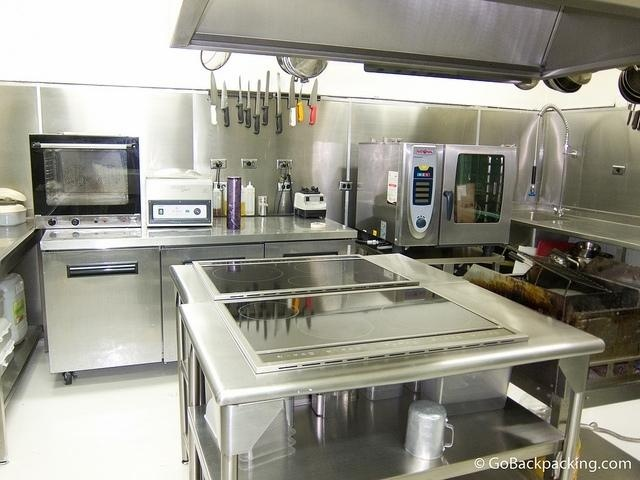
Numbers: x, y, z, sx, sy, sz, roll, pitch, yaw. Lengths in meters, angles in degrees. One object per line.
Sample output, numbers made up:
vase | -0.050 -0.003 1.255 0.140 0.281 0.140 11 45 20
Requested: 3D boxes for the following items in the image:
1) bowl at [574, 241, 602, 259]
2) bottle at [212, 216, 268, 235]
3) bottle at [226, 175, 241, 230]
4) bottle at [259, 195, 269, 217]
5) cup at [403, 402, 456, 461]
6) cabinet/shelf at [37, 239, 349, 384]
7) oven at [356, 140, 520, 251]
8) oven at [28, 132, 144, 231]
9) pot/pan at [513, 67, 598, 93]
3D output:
bowl | 2.224 0.076 3.879 0.127 0.083 0.131 1 6 0
bottle | -0.645 -0.123 3.770 0.439 0.028 0.694 -1 15 -9
bottle | -0.696 -0.281 3.839 0.120 0.428 0.124 -1 -5 0
bottle | -0.512 -0.315 4.240 0.102 0.167 0.193 0 15 -7
cup | 0.395 0.679 1.680 0.167 0.156 0.133 6 0 13
cabinet/shelf | -0.900 0.448 3.792 2.196 1.032 0.738 -3 6 -16
oven | 0.920 -0.278 4.225 1.086 0.883 0.973 -2 8 -19
oven | -1.798 -0.506 3.645 0.728 0.702 0.562 -6 28 -34
pot/pan | 1.247 -0.828 2.458 0.286 0.100 0.260 -8 18 -26
